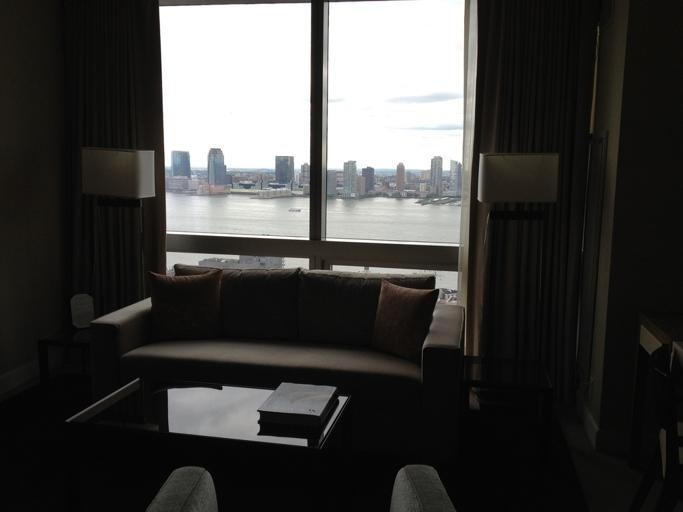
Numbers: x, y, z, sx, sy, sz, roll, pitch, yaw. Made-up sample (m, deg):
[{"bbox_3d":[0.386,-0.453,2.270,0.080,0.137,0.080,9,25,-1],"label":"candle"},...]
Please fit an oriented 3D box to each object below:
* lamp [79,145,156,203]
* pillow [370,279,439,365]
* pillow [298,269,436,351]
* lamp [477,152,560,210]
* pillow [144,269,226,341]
[{"bbox_3d":[-1.863,-0.698,4.714,0.514,0.397,0.302,5,9,12],"label":"lamp"},{"bbox_3d":[0.465,0.498,4.073,0.431,0.507,0.169,15,0,40],"label":"pillow"},{"bbox_3d":[0.184,0.488,4.495,1.070,0.686,0.379,2,-4,4],"label":"pillow"},{"bbox_3d":[1.328,-0.516,4.258,0.582,0.394,0.347,4,-16,12],"label":"lamp"},{"bbox_3d":[-1.221,0.392,4.452,0.539,0.578,0.213,-2,-5,-18],"label":"pillow"}]
